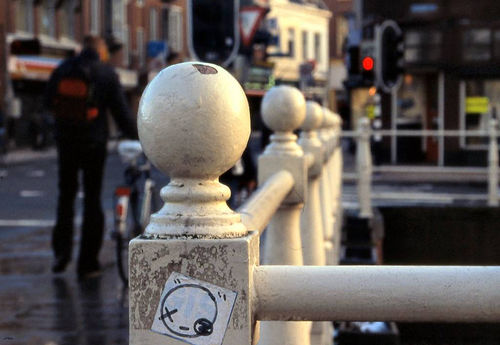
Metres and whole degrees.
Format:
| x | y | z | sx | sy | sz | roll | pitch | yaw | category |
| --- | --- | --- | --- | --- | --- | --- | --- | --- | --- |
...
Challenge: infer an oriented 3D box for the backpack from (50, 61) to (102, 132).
| x | y | z | sx | sy | sz | roll | pitch | yaw | category |
| --- | --- | --- | --- | --- | --- | --- | --- | --- | --- |
| -0.680 | -0.338 | 4.253 | 0.199 | 0.293 | 0.269 | 8 | 3 | 13 | backpack |
